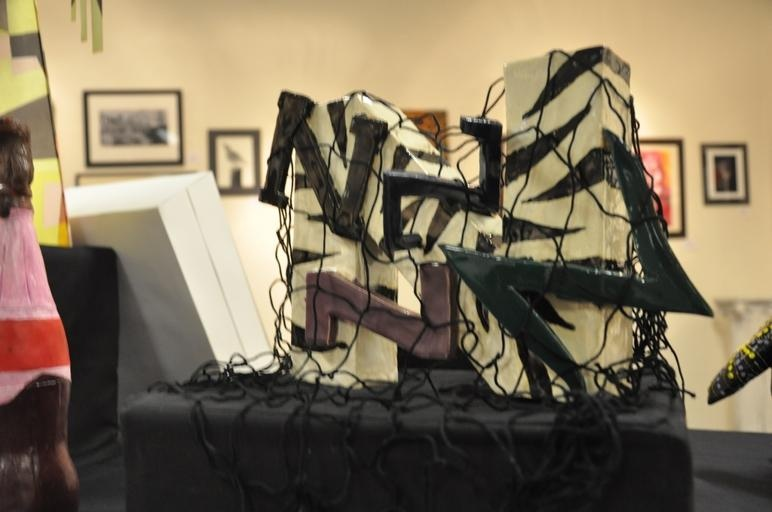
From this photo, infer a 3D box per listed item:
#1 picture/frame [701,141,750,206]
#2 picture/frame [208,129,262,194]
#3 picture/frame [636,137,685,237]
[{"bbox_3d":[1.413,-0.329,5.039,0.195,0.306,0.024,-1,-27,14],"label":"picture/frame"},{"bbox_3d":[-0.643,-0.380,5.148,0.229,0.333,0.044,0,-27,-12],"label":"picture/frame"},{"bbox_3d":[1.142,-0.281,5.097,0.217,0.445,0.012,3,33,20],"label":"picture/frame"}]
